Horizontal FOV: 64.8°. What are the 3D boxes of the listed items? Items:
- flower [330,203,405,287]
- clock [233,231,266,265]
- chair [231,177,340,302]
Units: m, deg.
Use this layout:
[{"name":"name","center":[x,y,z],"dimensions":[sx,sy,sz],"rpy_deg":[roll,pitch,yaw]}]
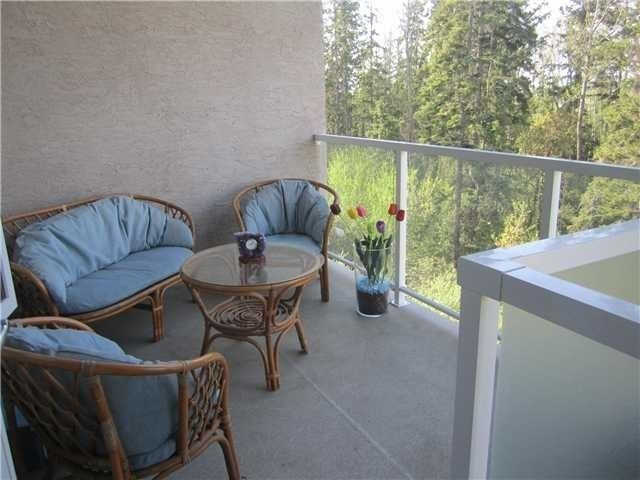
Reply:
[{"name":"flower","center":[0.308,-0.046,3.465],"dimensions":[0.507,0.809,0.524],"rpy_deg":[5,12,35]},{"name":"clock","center":[-0.425,0.043,3.036],"dimensions":[0.178,0.186,0.162],"rpy_deg":[1,6,6]},{"name":"chair","center":[-0.215,-0.051,3.888],"dimensions":[0.804,1.011,0.755],"rpy_deg":[0,13,3]}]
